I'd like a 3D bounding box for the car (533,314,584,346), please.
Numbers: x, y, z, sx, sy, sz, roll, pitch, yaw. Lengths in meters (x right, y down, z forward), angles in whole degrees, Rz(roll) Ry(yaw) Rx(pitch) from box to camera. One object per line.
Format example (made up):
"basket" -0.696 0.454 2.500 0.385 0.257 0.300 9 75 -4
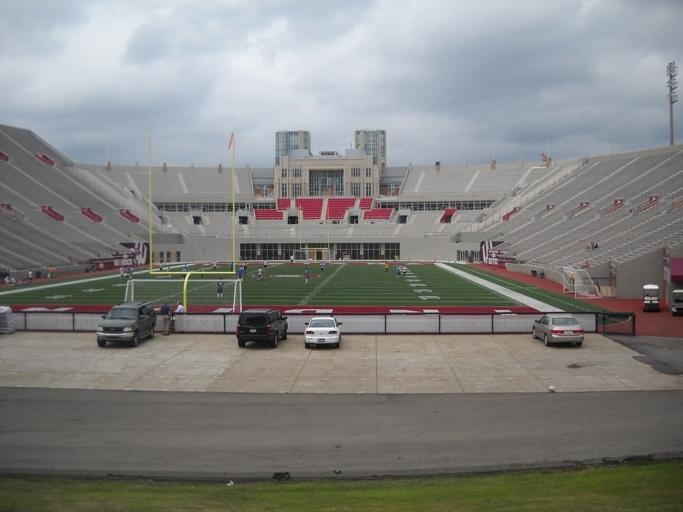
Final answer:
"car" 9.297 3.192 23.122 1.462 1.212 1.821 -1 4 -4

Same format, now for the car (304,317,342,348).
"car" -0.847 3.002 24.086 1.662 0.906 3.185 2 12 1

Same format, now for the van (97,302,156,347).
"van" -9.420 2.869 23.798 1.641 0.962 2.535 0 -2 4

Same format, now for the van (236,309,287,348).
"van" -3.467 3.091 23.480 1.525 1.563 2.098 1 4 13
